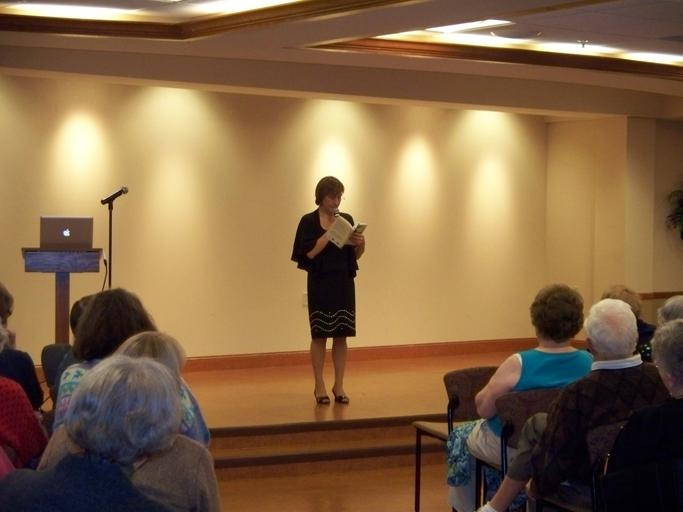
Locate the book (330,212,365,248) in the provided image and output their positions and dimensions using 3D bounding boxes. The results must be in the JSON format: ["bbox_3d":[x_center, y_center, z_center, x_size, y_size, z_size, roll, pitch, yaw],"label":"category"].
[{"bbox_3d":[0.050,-0.198,5.216,0.104,0.289,0.281,32,-47,-33],"label":"book"}]

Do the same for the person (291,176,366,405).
[{"bbox_3d":[-0.062,0.336,5.499,0.521,2.139,0.740,0,-1,-43],"label":"person"}]

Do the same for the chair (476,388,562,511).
[{"bbox_3d":[0.845,0.943,3.028,0.375,0.577,0.388,-1,9,-12],"label":"chair"}]

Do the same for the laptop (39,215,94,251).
[{"bbox_3d":[-2.309,-0.196,5.005,0.381,0.292,0.280,0,-6,-15],"label":"laptop"}]

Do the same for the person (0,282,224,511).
[{"bbox_3d":[-1.246,0.571,2.986,1.344,0.813,0.643,-1,-1,30],"label":"person"}]
